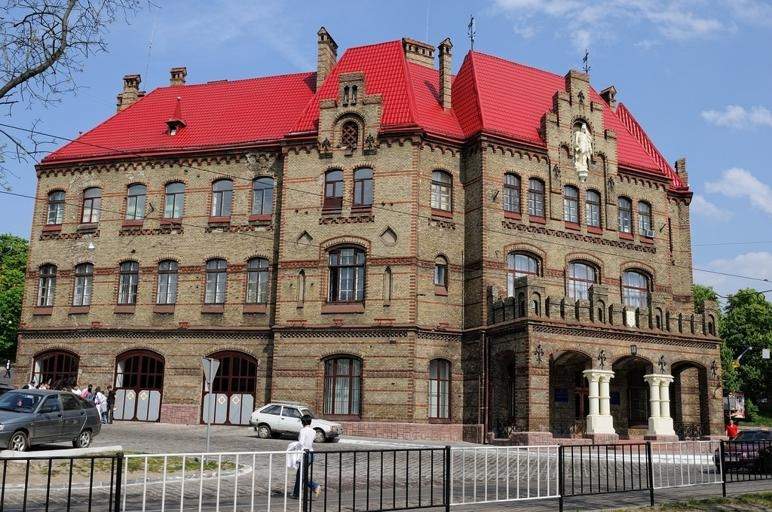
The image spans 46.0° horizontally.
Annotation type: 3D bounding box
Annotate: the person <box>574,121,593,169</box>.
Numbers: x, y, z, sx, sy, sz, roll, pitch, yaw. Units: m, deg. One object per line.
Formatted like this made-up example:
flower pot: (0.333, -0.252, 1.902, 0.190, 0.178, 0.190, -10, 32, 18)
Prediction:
person: (11.497, -6.424, 53.237, 1.218, 2.944, 0.747, 15, -25, -37)

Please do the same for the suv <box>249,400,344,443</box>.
suv: (-4.724, 8.378, 45.966, 4.947, 1.416, 2.130, -2, -7, 16)
